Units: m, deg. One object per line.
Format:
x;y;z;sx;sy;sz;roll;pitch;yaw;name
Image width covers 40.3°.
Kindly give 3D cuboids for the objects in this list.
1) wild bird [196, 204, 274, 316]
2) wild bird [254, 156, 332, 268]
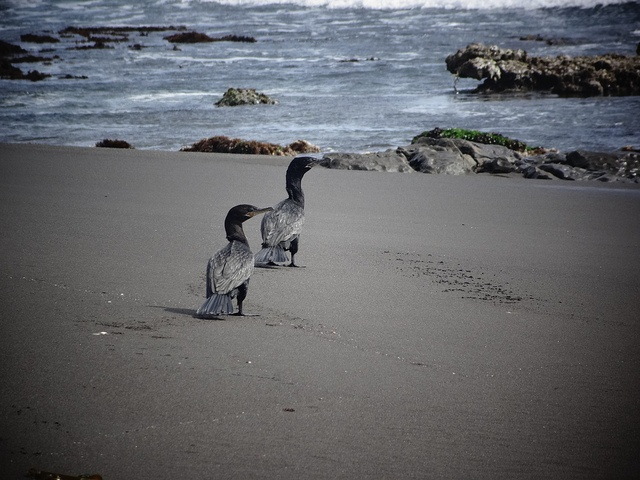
-0.983;0.259;9.631;0.601;1.258;0.683;8;9;2;wild bird
-0.427;-0.333;10.697;0.541;1.381;0.742;8;9;2;wild bird
